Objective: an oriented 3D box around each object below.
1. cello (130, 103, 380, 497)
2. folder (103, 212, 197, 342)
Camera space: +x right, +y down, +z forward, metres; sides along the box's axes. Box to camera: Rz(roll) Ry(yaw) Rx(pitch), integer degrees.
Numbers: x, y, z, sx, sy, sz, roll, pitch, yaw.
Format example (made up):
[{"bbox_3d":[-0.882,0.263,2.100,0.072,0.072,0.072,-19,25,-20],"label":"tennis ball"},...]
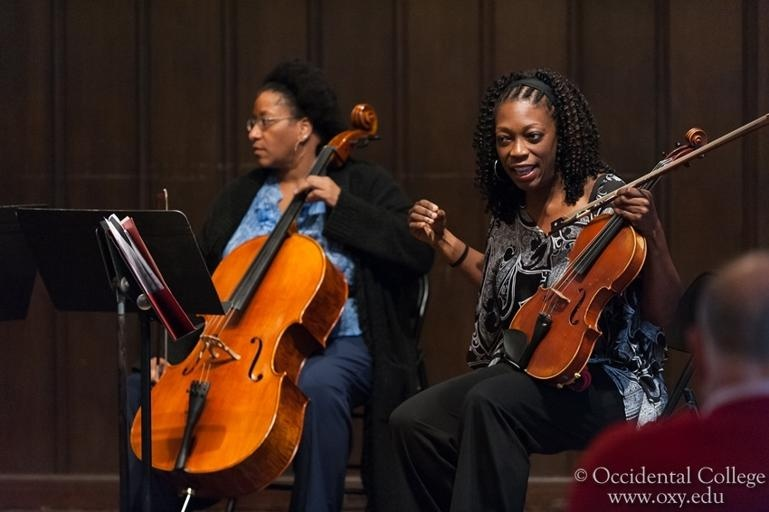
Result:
[{"bbox_3d":[-0.505,0.203,4.430,0.619,1.645,0.336,6,-41,36],"label":"cello"},{"bbox_3d":[-0.968,0.058,4.116,0.338,0.515,0.355,-7,16,-38],"label":"folder"}]
